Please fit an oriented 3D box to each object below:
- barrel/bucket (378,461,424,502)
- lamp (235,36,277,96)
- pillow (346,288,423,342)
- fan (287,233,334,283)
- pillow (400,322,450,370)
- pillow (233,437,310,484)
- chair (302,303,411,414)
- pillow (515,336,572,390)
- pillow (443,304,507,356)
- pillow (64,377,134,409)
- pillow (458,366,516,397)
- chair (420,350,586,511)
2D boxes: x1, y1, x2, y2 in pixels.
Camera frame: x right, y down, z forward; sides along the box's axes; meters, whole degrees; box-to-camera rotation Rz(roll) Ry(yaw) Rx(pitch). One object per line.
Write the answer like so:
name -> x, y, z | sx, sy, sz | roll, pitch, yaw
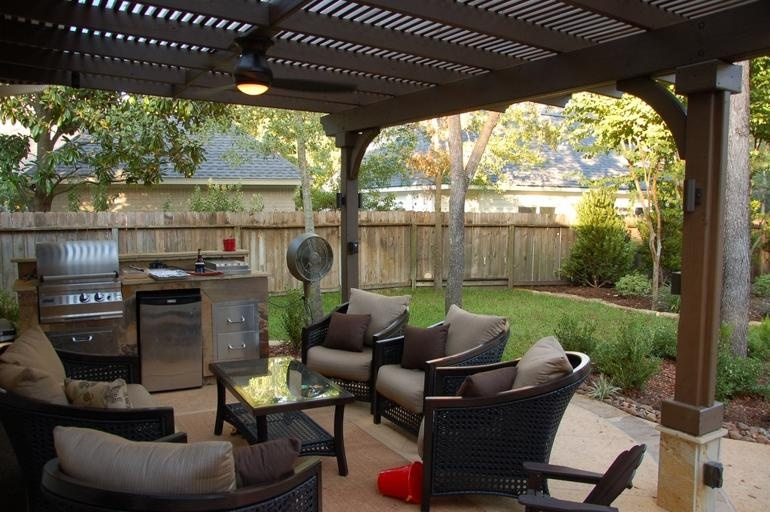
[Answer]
barrel/bucket -> 0.142, 1.938, 5.029 | 0.399, 0.378, 0.329 | -4, 11, 11
lamp -> -1.169, -1.685, 5.038 | 0.348, 0.477, 0.367 | 1, 0, 3
pillow -> -0.011, 0.768, 7.195 | 0.721, 0.609, 0.274 | 1, -5, 37
fan -> -1.028, 0.039, 7.900 | 0.721, 0.806, 0.598 | 1, 2, -29
pillow -> 0.421, 0.961, 5.922 | 0.430, 0.420, 0.162 | -5, -32, 28
pillow -> -0.731, 1.301, 3.502 | 0.307, 0.291, 0.093 | 4, 0, -20
chair -> -0.277, 1.189, 6.905 | 1.010, 1.278, 1.178 | 2, -2, 30
pillow -> 1.328, 0.937, 4.829 | 0.483, 0.400, 0.456 | 0, 3, 7
pillow -> 0.988, 0.832, 6.293 | 0.299, 0.658, 0.821 | 13, -5, -36
pillow -> -2.237, 1.076, 4.385 | 0.311, 0.131, 0.318 | 3, 18, -9
pillow -> 0.873, 1.066, 4.769 | 0.434, 0.205, 0.173 | -10, -8, -29
chair -> 0.979, 1.525, 5.116 | 1.285, 1.055, 1.180 | 0, -5, 2
